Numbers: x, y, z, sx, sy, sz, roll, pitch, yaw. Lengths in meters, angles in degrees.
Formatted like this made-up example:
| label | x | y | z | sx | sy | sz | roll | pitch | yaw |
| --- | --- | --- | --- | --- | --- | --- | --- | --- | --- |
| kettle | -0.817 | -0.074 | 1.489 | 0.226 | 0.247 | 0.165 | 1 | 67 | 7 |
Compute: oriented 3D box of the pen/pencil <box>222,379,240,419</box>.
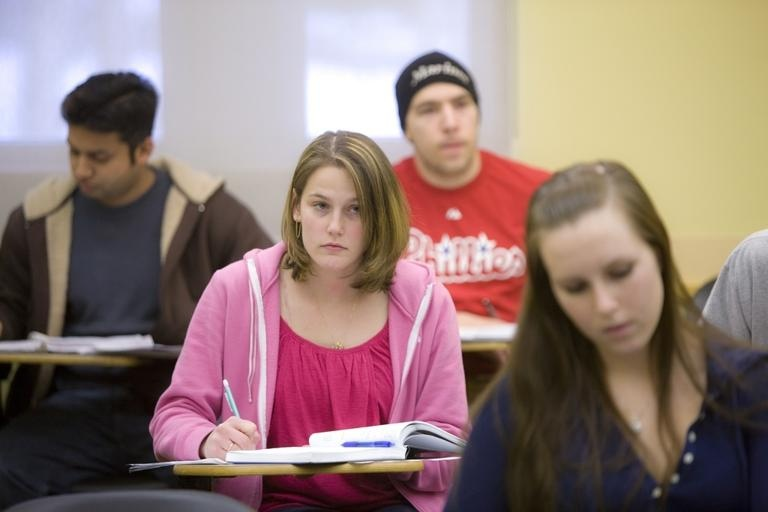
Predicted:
| label | x | y | z | sx | sy | sz | roll | pitch | yaw |
| --- | --- | --- | --- | --- | --- | --- | --- | --- | --- |
| pen/pencil | -0.523 | 0.496 | 2.815 | 0.027 | 0.023 | 0.159 | -23 | 60 | -8 |
